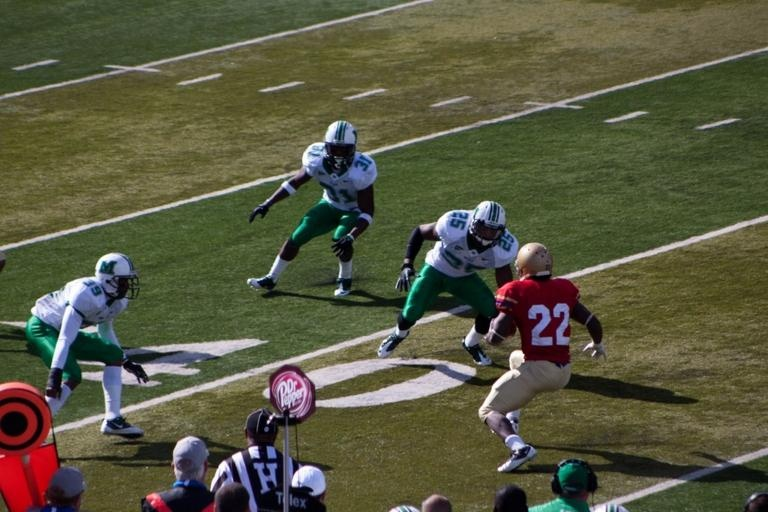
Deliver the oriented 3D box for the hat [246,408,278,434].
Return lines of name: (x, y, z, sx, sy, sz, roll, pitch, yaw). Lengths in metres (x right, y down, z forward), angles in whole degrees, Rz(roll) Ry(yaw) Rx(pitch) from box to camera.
hat: (-1.306, 1.791, 17.391, 0.308, 0.159, 0.312, 5, 12, -1)

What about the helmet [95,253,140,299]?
helmet: (-3.400, 0.220, 19.838, 0.748, 0.433, 0.487, 7, 5, 6)

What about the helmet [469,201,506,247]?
helmet: (1.401, -0.483, 20.360, 0.501, 0.404, 0.529, 11, 20, -7)

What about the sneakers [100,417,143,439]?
sneakers: (-3.225, 2.115, 19.555, 0.727, 0.214, 0.204, 6, 15, -6)

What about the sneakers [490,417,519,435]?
sneakers: (1.452, 2.021, 19.037, 0.352, 0.243, 0.194, -7, 53, 6)

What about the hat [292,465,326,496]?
hat: (-0.766, 2.443, 17.145, 0.460, 0.262, 0.303, -11, 26, -11)

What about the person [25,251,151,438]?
person: (-3.581, 1.116, 19.686, 1.454, 2.171, 1.518, -11, 23, -8)

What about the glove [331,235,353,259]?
glove: (-0.530, -0.129, 22.153, 0.307, 0.400, 0.323, -8, 22, -3)

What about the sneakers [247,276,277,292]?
sneakers: (-1.788, 0.390, 22.530, 0.577, 0.134, 0.231, 3, -18, -16)

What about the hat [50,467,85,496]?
hat: (-3.366, 2.391, 16.850, 0.355, 0.279, 0.236, -7, 22, -3)

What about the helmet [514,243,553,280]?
helmet: (1.915, 0.057, 19.158, 0.542, 0.396, 0.546, -5, 0, -4)
